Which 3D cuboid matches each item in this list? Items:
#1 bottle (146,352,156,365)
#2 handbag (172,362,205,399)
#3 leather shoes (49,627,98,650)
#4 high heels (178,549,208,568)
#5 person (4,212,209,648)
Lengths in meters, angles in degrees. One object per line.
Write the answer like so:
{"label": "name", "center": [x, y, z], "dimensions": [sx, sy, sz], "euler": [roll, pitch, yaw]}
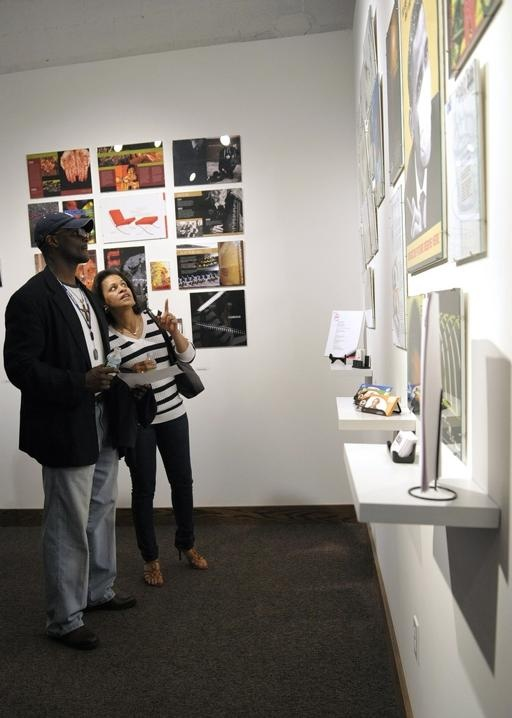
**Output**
{"label": "bottle", "center": [-0.535, -0.010, 2.570], "dimensions": [0.030, 0.059, 0.053], "euler": [-3, 3, -17]}
{"label": "handbag", "center": [-0.394, 0.111, 2.929], "dimensions": [0.115, 0.220, 0.143], "euler": [-18, -26, -32]}
{"label": "leather shoes", "center": [-0.796, 1.191, 2.244], "dimensions": [0.236, 0.112, 0.085], "euler": [-8, -10, 28]}
{"label": "high heels", "center": [-0.374, 1.169, 3.057], "dimensions": [0.086, 0.104, 0.232], "euler": [-7, -1, -37]}
{"label": "person", "center": [-0.771, 0.299, 2.298], "dimensions": [0.514, 1.876, 0.619], "euler": [-3, -1, -3]}
